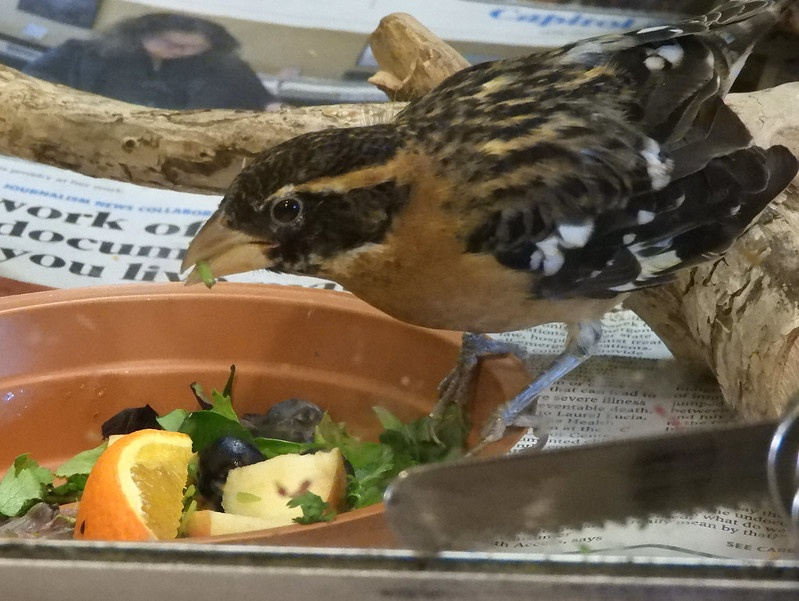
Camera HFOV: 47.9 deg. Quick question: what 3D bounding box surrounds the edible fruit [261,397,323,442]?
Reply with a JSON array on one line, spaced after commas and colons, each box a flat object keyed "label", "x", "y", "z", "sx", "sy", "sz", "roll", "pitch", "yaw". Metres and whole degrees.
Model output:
[{"label": "edible fruit", "x": -0.160, "y": 0.178, "z": 1.347, "sx": 0.071, "sy": 0.036, "sz": 0.083, "roll": -8, "pitch": 12, "yaw": -35}]

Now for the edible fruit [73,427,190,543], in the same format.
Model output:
[{"label": "edible fruit", "x": -0.313, "y": 0.225, "z": 1.071, "sx": 0.081, "sy": 0.040, "sz": 0.135, "roll": 20, "pitch": 19, "yaw": -2}]

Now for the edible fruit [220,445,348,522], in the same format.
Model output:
[{"label": "edible fruit", "x": -0.146, "y": 0.240, "z": 1.147, "sx": 0.152, "sy": 0.069, "sz": 0.126, "roll": 4, "pitch": 37, "yaw": -6}]

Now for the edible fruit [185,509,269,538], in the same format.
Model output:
[{"label": "edible fruit", "x": -0.220, "y": 0.271, "z": 1.087, "sx": 0.090, "sy": 0.019, "sz": 0.072, "roll": -1, "pitch": -7, "yaw": 16}]
